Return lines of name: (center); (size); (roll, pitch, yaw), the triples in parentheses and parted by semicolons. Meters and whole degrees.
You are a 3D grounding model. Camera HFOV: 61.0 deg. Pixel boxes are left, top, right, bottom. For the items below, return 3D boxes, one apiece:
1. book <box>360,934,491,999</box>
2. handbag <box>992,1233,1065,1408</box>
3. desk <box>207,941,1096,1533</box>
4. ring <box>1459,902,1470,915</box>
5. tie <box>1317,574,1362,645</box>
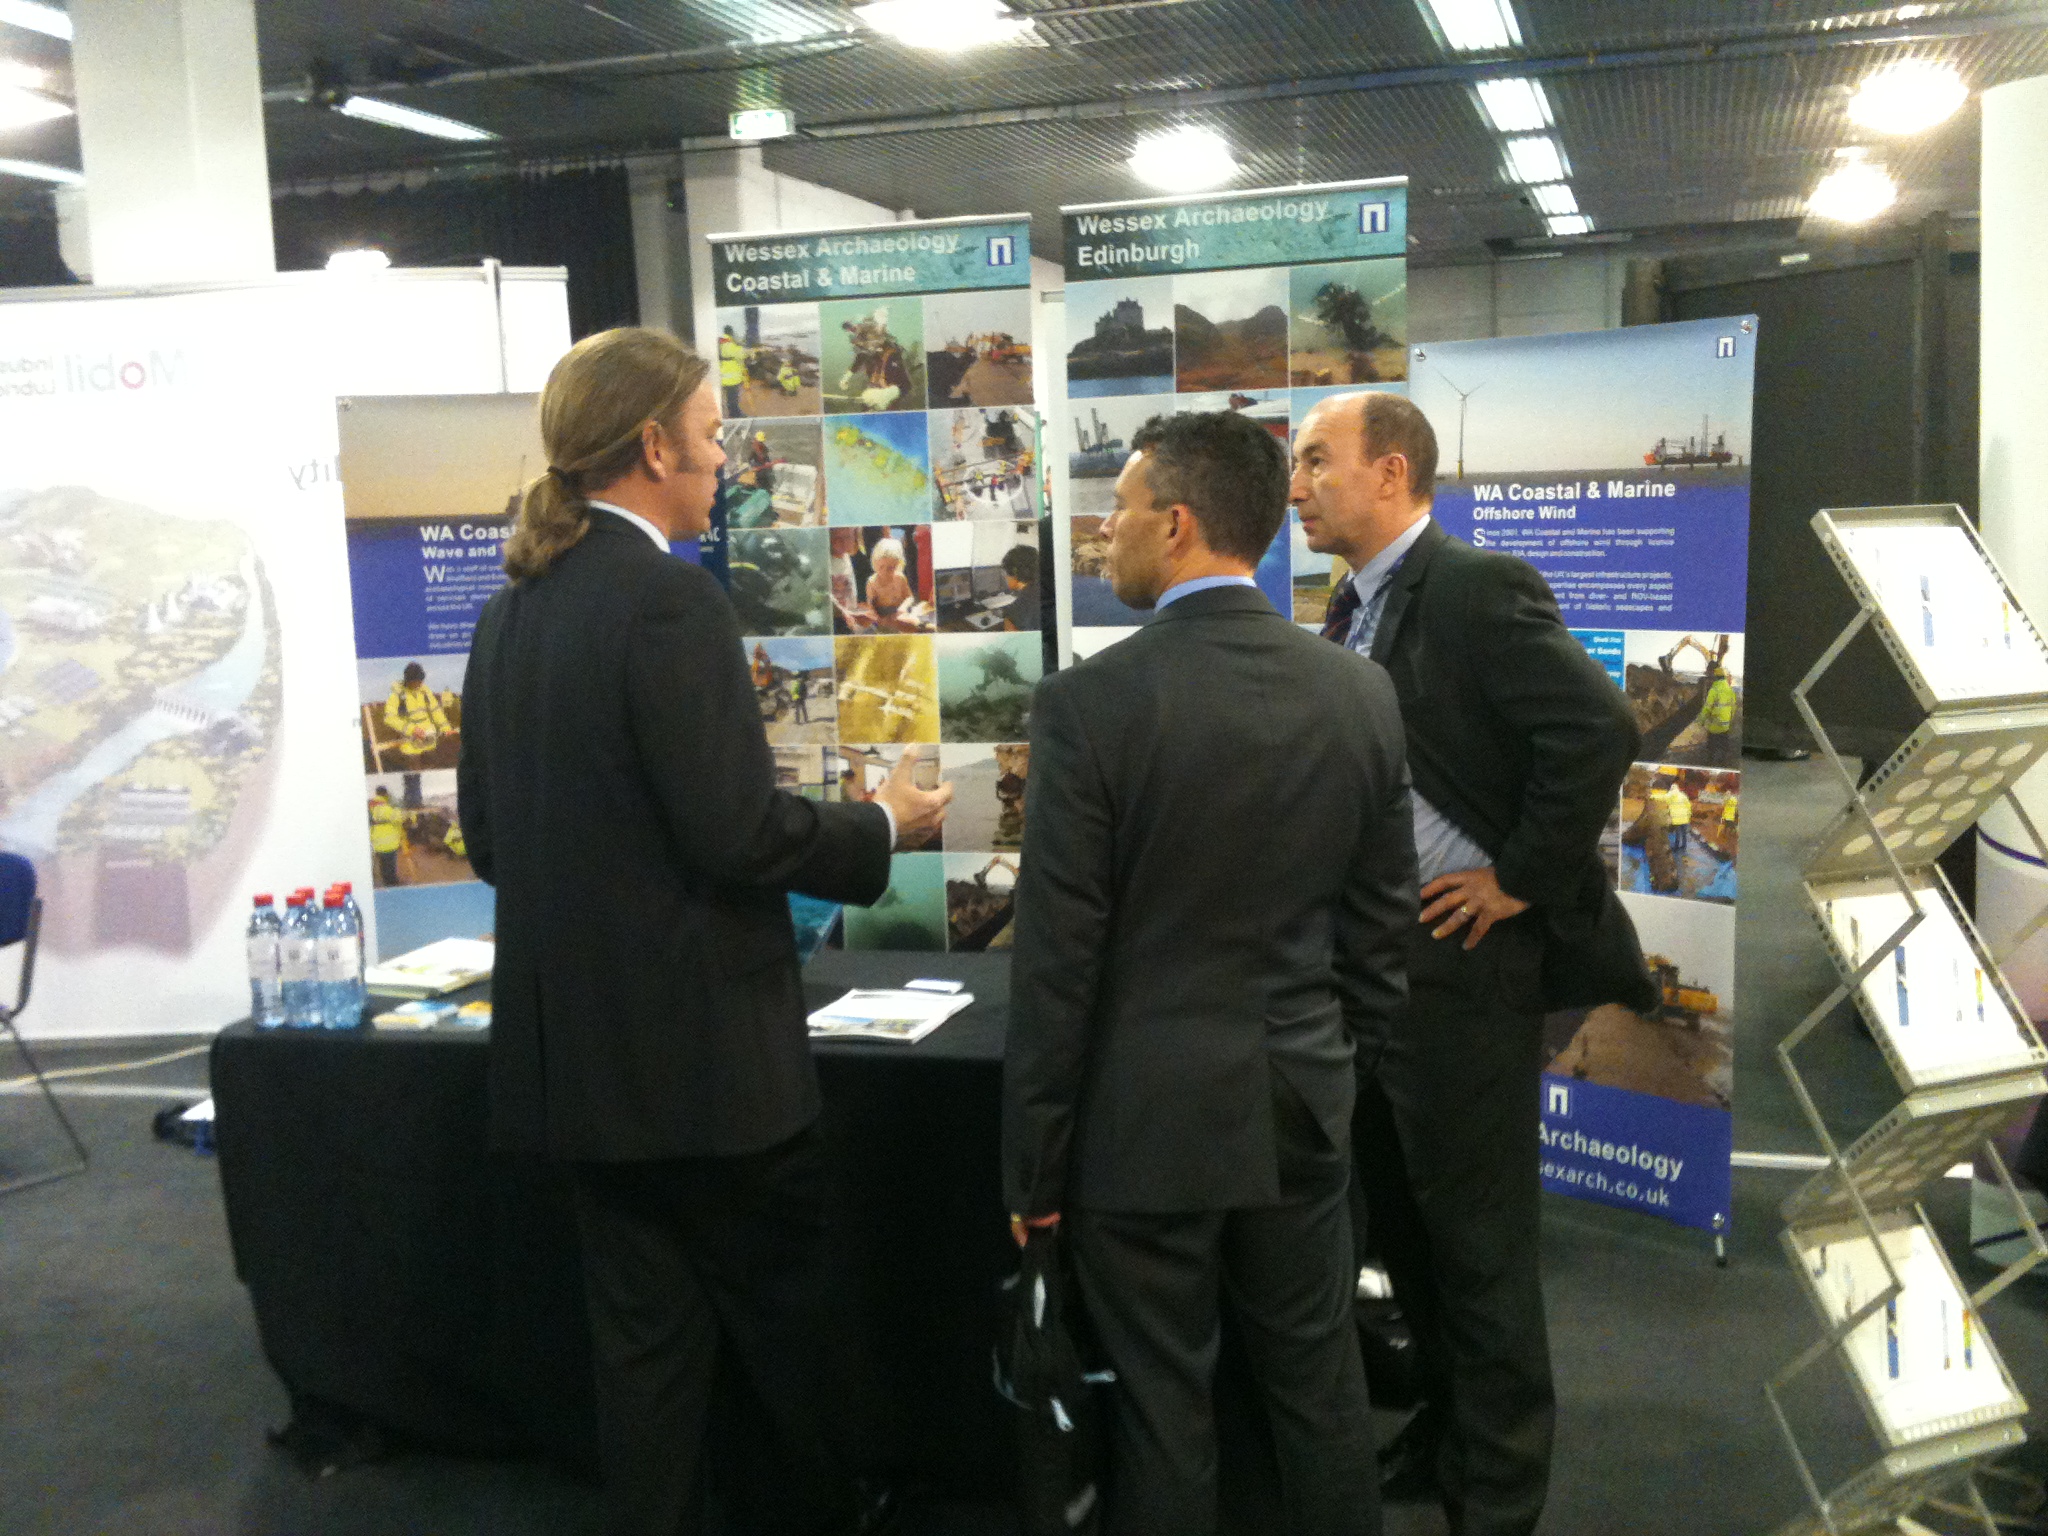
book: (-1.460, 0.485, 4.240); (0.218, 0.052, 0.209); (6, 16, 15)
handbag: (0.005, 0.990, 3.178); (0.116, 0.332, 0.314); (-2, 14, -3)
desk: (-0.722, 1.185, 4.123); (1.375, 0.844, 0.725); (-5, -9, -7)
ring: (0.882, 0.283, 3.511); (0.019, 0.034, 0.017); (-2, -16, 5)
tie: (0.680, -0.374, 3.821); (0.078, 0.191, 0.143); (4, -4, 5)
